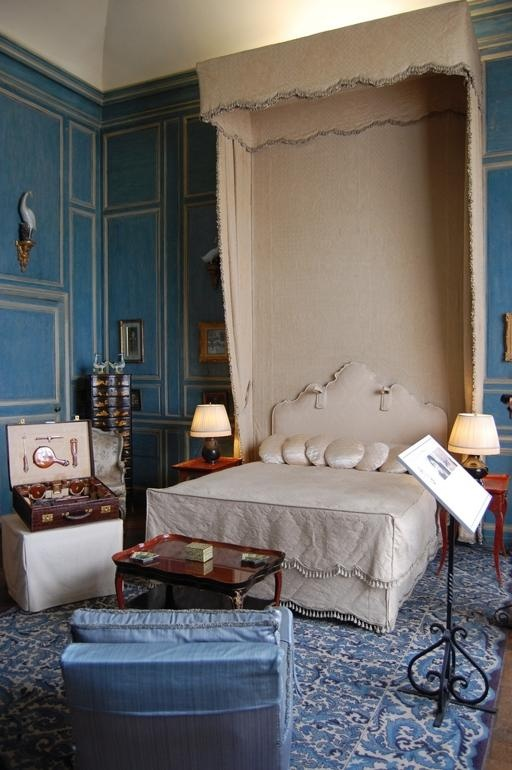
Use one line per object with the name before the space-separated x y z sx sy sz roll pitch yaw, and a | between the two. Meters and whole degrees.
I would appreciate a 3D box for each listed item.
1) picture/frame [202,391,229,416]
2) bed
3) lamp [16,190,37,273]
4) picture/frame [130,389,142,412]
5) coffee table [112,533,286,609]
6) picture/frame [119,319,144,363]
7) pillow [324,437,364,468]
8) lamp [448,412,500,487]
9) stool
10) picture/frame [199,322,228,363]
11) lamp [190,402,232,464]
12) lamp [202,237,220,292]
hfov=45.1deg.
picture/frame | -0.323 0.146 5.151 0.208 0.220 0.021 0 0 34
bed | 0.382 0.537 3.843 1.513 1.125 1.579 0 5 17
lamp | -1.922 -1.307 5.248 0.117 0.672 0.259 0 1 9
picture/frame | -1.148 0.133 5.974 0.025 0.247 0.203 -2 4 -43
coffee table | -0.258 0.861 2.792 0.764 0.277 0.513 0 1 33
picture/frame | -1.208 -0.426 6.023 0.302 0.428 0.033 1 1 32
pillow | 0.611 0.477 4.371 0.196 0.064 0.205 -4 34 21
lamp | 1.186 0.358 3.361 0.234 0.385 0.237 -2 -4 28
stool | -1.041 0.942 3.375 0.549 0.417 0.417 -1 1 -36
picture/frame | -0.365 -0.390 5.494 0.344 0.369 0.037 1 2 20
lamp | -0.342 0.374 4.765 0.328 0.433 0.336 -1 -3 -3
lamp | -0.404 -1.033 5.474 0.231 0.353 0.158 0 1 24
